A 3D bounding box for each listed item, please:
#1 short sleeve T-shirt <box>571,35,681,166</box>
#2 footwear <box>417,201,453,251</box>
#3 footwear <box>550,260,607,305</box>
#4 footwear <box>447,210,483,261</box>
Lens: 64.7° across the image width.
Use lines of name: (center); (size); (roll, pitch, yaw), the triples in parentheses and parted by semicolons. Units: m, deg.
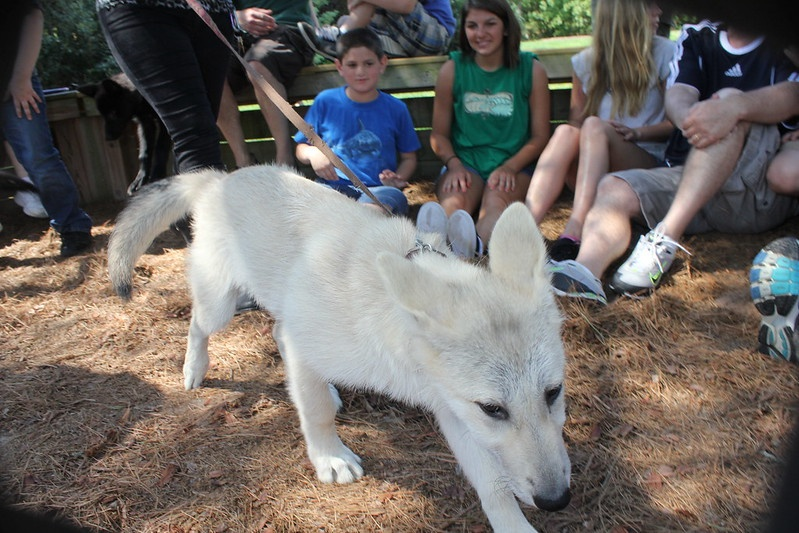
short sleeve T-shirt: (2.042, -1.450, 5.598); (0.913, 0.959, 0.549); (-11, 20, 46)
footwear: (0.291, -0.389, 5.275); (0.202, 0.193, 0.510); (-6, 57, -3)
footwear: (1.320, 0.086, 4.773); (0.297, 0.254, 0.551); (-5, 10, -16)
footwear: (0.530, -0.226, 5.156); (0.086, 0.371, 0.354); (-20, 47, -22)
